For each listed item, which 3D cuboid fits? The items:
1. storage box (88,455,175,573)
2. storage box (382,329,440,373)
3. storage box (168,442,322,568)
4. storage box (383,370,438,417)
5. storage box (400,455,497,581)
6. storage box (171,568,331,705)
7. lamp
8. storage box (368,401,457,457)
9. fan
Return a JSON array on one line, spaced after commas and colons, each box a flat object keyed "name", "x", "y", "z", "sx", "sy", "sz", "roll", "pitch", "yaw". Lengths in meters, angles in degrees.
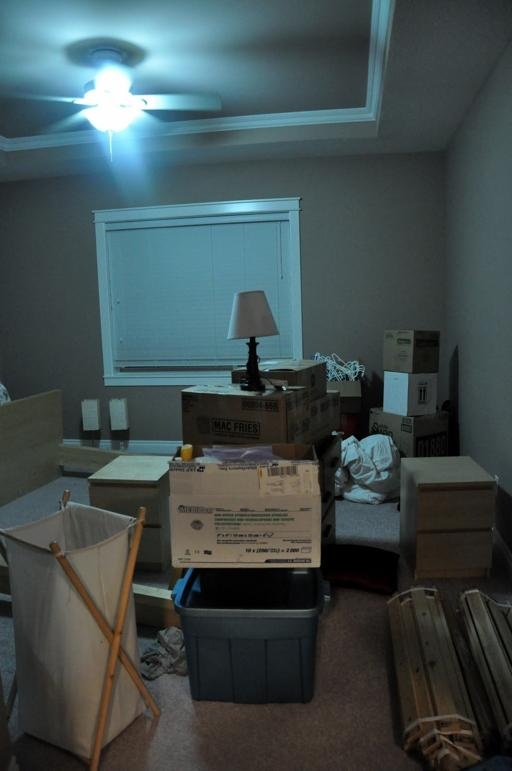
[{"name": "storage box", "x": -0.617, "y": 0.639, "z": 2.945, "sx": 0.371, "sy": 0.493, "sz": 0.397, "roll": 2, "pitch": 15, "yaw": 7}, {"name": "storage box", "x": 1.084, "y": -0.261, "z": 4.037, "sx": 0.322, "sy": 0.322, "sz": 0.318, "roll": 6, "pitch": 8, "yaw": 37}, {"name": "storage box", "x": 0.040, "y": 0.452, "z": 2.064, "sx": 0.615, "sy": 0.333, "sz": 0.647, "roll": -1, "pitch": -7, "yaw": -2}, {"name": "storage box", "x": 1.034, "y": 0.054, "z": 4.014, "sx": 0.314, "sy": 0.328, "sz": 0.306, "roll": -1, "pitch": 5, "yaw": -14}, {"name": "storage box", "x": 0.895, "y": 0.603, "z": 2.755, "sx": 0.354, "sy": 0.531, "sz": 0.397, "roll": -4, "pitch": 21, "yaw": 2}, {"name": "storage box", "x": -0.014, "y": 0.896, "z": 2.086, "sx": 0.527, "sy": 0.358, "sz": 0.458, "roll": -2, "pitch": 3, "yaw": -5}, {"name": "lamp", "x": -0.004, "y": -0.183, "z": 2.543, "sx": 0.227, "sy": 0.439, "sz": 0.221, "roll": -1, "pitch": -2, "yaw": 12}, {"name": "storage box", "x": 1.091, "y": 0.361, "z": 4.186, "sx": 0.297, "sy": 0.380, "sz": 0.550, "roll": -8, "pitch": 6, "yaw": -21}, {"name": "fan", "x": -0.868, "y": -1.679, "z": 3.377, "sx": 1.248, "sy": 0.386, "sz": 0.708, "roll": 10, "pitch": 17, "yaw": 37}]
